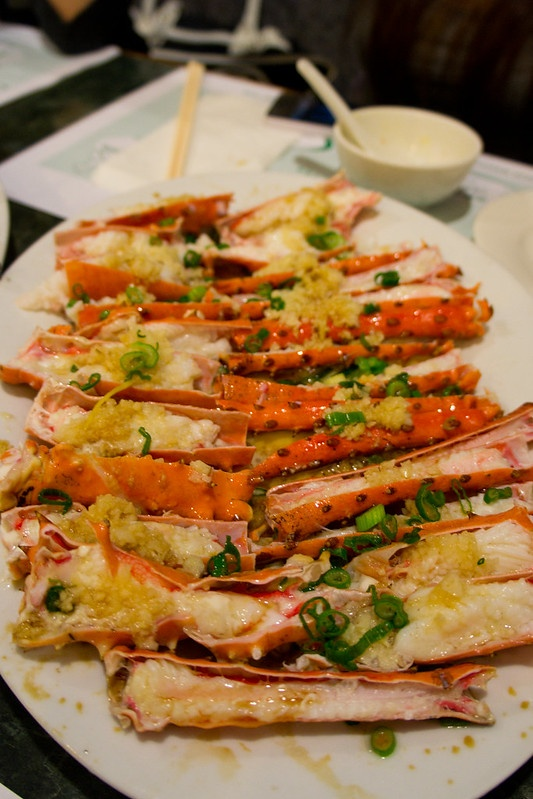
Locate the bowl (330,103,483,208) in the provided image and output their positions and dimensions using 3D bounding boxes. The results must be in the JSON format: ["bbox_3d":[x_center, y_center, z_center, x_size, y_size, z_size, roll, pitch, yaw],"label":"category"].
[{"bbox_3d":[0.723,-1.263,3.769,0.717,0.270,0.634,9,42,3],"label":"bowl"}]
